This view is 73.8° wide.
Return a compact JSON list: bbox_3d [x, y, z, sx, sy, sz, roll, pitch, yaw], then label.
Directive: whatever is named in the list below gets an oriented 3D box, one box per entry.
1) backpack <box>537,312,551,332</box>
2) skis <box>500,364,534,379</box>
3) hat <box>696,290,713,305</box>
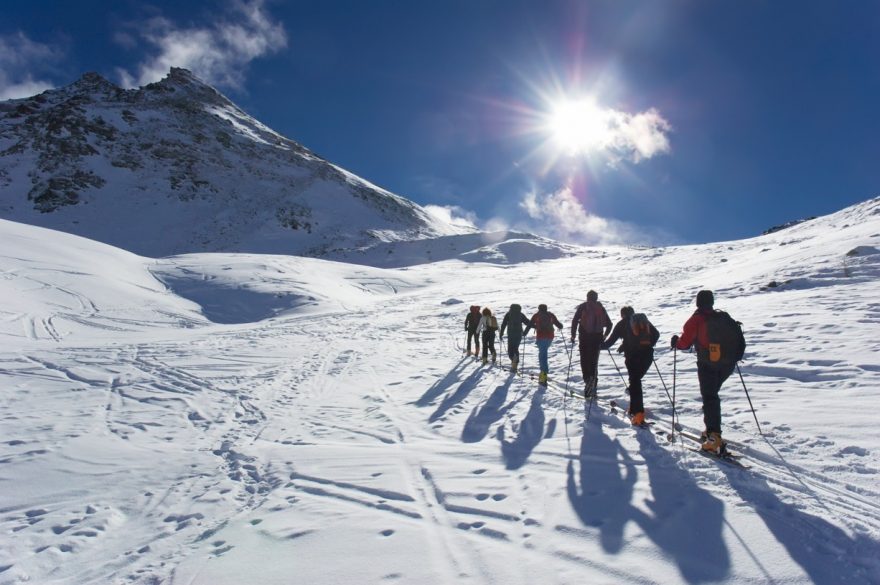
[{"bbox_3d":[3.140,0.900,18.189,0.493,0.563,0.620,-3,22,3],"label":"backpack"},{"bbox_3d":[2.514,2.630,19.277,1.456,0.227,0.028,0,-9,38],"label":"skis"},{"bbox_3d":[6.507,0.107,14.471,0.375,0.364,0.430,6,9,41],"label":"hat"}]
